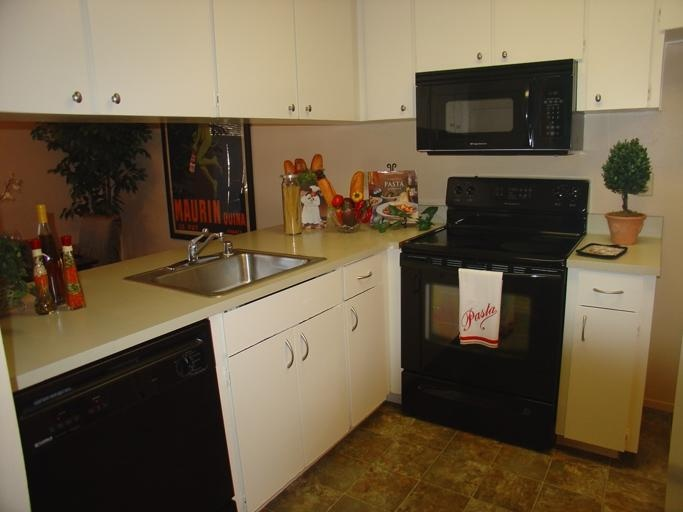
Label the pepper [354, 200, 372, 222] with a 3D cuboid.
[{"bbox_3d":[0.138,-0.283,3.217,0.094,0.139,0.054,3,6,4],"label":"pepper"}]

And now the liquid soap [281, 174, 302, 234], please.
[{"bbox_3d":[-0.300,-0.323,3.172,0.107,0.363,0.177,-2,12,-4],"label":"liquid soap"}]

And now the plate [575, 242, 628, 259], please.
[{"bbox_3d":[1.316,-0.033,2.620,0.208,0.026,0.305,9,16,37],"label":"plate"}]

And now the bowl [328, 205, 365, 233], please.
[{"bbox_3d":[-0.005,-0.244,3.254,0.152,0.152,0.292,-12,17,-42],"label":"bowl"}]

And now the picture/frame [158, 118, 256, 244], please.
[{"bbox_3d":[-1.068,-0.640,4.241,0.965,1.028,0.064,8,15,39],"label":"picture/frame"}]

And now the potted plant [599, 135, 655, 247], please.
[{"bbox_3d":[1.511,-0.351,2.770,0.212,0.543,0.351,6,14,30],"label":"potted plant"}]

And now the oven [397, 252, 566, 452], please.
[{"bbox_3d":[0.811,0.256,2.944,0.872,1.165,0.864,0,34,12],"label":"oven"}]

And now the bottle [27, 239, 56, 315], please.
[{"bbox_3d":[-1.167,0.076,2.021,0.061,0.296,0.068,-12,16,-43],"label":"bottle"}]
